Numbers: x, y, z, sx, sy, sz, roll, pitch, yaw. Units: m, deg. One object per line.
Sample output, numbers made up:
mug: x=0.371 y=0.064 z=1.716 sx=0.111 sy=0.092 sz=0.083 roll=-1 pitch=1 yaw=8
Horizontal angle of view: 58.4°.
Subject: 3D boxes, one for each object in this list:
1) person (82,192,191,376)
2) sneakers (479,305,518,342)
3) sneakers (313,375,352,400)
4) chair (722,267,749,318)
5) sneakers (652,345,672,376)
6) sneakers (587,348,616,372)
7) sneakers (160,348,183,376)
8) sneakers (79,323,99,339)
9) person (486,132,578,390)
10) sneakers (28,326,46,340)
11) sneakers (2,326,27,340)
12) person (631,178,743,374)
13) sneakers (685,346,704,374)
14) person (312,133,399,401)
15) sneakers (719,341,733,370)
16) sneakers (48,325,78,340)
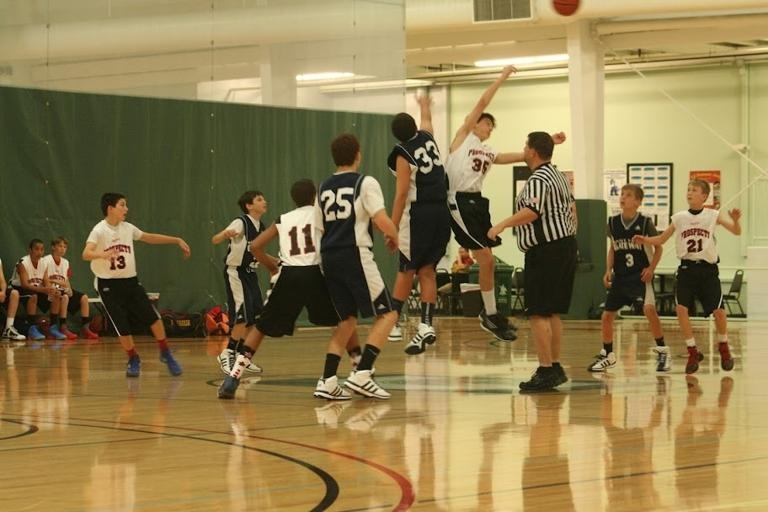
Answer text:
person: x=-2.510 y=0.293 z=6.744 sx=0.800 sy=1.821 sz=1.049 roll=2 pitch=5 yaw=38
sneakers: x=1.213 y=0.712 z=7.184 sx=0.493 sy=0.200 sz=0.198 roll=32 pitch=44 yaw=11
sneakers: x=-0.377 y=1.053 z=5.545 sx=0.348 sy=0.170 sz=0.146 roll=4 pitch=0 yaw=-36
chair: x=7.271 y=0.812 z=14.592 sx=0.662 sy=0.983 sz=0.589 roll=-3 pitch=2 yaw=10
sneakers: x=2.827 y=1.024 z=6.977 sx=0.161 sy=0.261 sz=0.416 roll=1 pitch=4 yaw=22
sneakers: x=2.193 y=1.042 z=6.943 sx=0.279 sy=0.249 sz=0.320 roll=0 pitch=4 yaw=9
sneakers: x=-2.205 y=1.101 z=7.109 sx=0.099 sy=0.299 sz=0.131 roll=-35 pitch=11 yaw=-20
sneakers: x=-4.573 y=1.164 z=10.674 sx=0.157 sy=0.169 sz=0.359 roll=1 pitch=10 yaw=-32
person: x=1.334 y=0.046 z=5.825 sx=0.741 sy=2.201 sz=0.378 roll=-3 pitch=4 yaw=-26
sneakers: x=-5.280 y=1.147 z=10.453 sx=0.236 sy=0.194 sz=0.269 roll=-3 pitch=5 yaw=-28
sneakers: x=-5.567 y=1.140 z=10.329 sx=0.490 sy=0.231 sz=0.172 roll=3 pitch=-1 yaw=19
person: x=3.222 y=0.210 z=7.128 sx=0.804 sy=2.007 sz=1.274 roll=1 pitch=4 yaw=28
sneakers: x=3.186 y=1.069 z=7.057 sx=0.211 sy=0.300 sz=0.097 roll=45 pitch=-27 yaw=-23
person: x=-0.238 y=0.093 z=5.372 sx=0.687 sy=2.105 sz=0.387 roll=-1 pitch=4 yaw=7
sneakers: x=3.511 y=1.030 z=7.070 sx=0.110 sy=0.142 sz=0.341 roll=-8 pitch=44 yaw=14
sneakers: x=-4.866 y=1.167 z=10.544 sx=0.524 sy=0.240 sz=0.189 roll=-1 pitch=-2 yaw=11
